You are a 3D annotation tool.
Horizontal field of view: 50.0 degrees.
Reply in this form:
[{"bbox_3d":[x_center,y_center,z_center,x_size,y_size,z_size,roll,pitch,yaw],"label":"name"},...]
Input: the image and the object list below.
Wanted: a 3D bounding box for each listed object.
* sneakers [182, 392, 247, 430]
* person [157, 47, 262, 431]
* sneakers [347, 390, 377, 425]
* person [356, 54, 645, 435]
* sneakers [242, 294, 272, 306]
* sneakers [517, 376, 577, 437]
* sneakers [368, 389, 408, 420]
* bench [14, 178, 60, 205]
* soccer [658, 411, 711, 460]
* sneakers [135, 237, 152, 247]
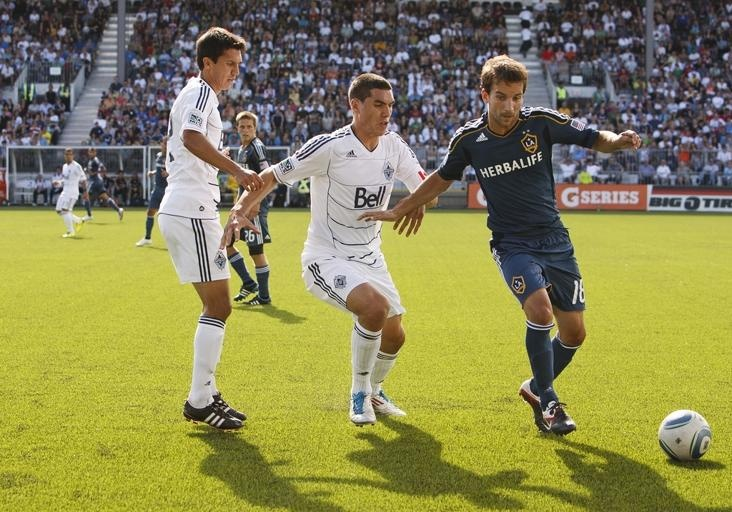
[{"bbox_3d":[-1.206,1.270,6.419,0.524,0.270,0.207,12,7,-5],"label":"sneakers"},{"bbox_3d":[-1.318,-0.250,6.453,0.768,3.193,0.975,-3,12,-12],"label":"person"},{"bbox_3d":[-0.033,1.270,6.432,0.207,0.281,0.214,-1,12,-2],"label":"sneakers"},{"bbox_3d":[1.364,-0.178,6.691,1.483,2.977,0.900,10,15,42],"label":"person"},{"bbox_3d":[-1.378,0.557,9.927,0.375,0.158,0.131,3,-5,0],"label":"sneakers"},{"bbox_3d":[1.481,1.248,6.414,0.190,0.226,0.519,-11,28,-25],"label":"sneakers"},{"bbox_3d":[0.203,1.274,6.715,0.397,0.190,0.143,7,3,33],"label":"sneakers"},{"bbox_3d":[-11.341,-2.258,26.938,1.574,1.056,0.365,1,11,4],"label":"bench"},{"bbox_3d":[2.418,1.371,5.962,0.389,0.367,0.171,2,12,9],"label":"soccer"},{"bbox_3d":[-4.383,-0.263,15.236,0.374,0.170,0.138,-1,4,4],"label":"sneakers"}]
